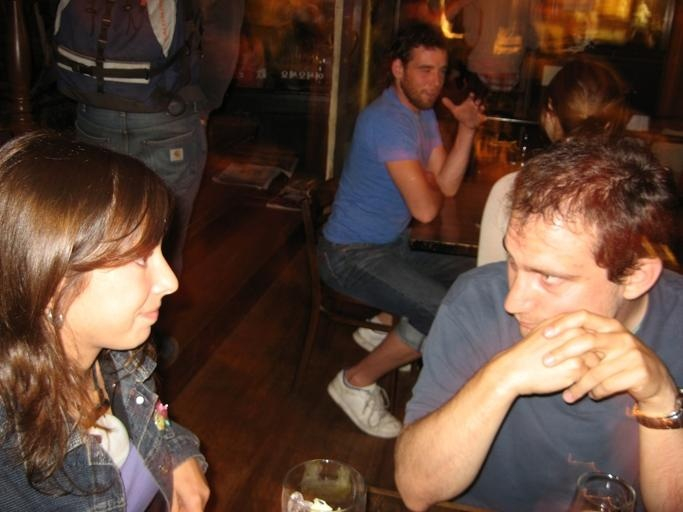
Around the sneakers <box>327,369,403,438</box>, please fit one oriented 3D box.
[{"bbox_3d":[0.109,0.779,2.876,0.430,0.209,0.221,41,26,1],"label":"sneakers"}]

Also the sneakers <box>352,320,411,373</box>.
[{"bbox_3d":[0.263,0.509,3.364,0.504,0.214,0.190,7,23,16],"label":"sneakers"}]

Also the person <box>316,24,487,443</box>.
[{"bbox_3d":[0.377,-0.148,3.047,0.892,2.016,0.877,14,20,37],"label":"person"}]
